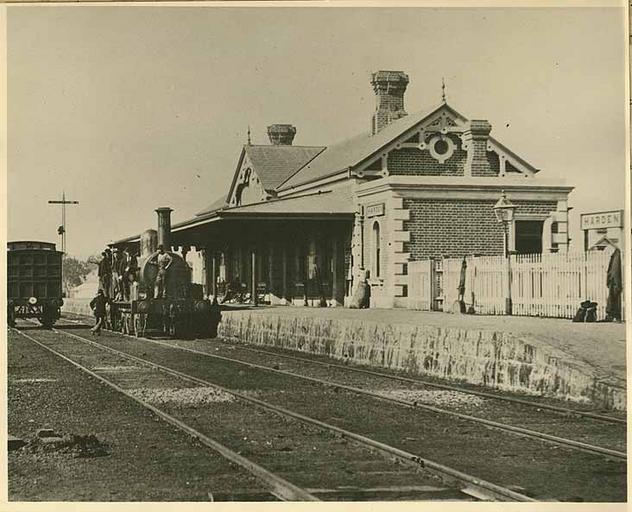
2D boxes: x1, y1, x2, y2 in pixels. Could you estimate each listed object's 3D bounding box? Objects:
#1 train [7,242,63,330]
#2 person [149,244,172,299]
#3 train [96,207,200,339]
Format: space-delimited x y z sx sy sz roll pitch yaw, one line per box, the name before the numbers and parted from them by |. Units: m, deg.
train | -10.621 1.046 30.225 2.622 3.404 5.213 0 -4 -17
person | -5.012 0.553 26.081 0.442 1.696 0.828 -3 2 -43
train | -5.709 0.531 27.584 1.810 4.274 4.467 -2 2 -34
